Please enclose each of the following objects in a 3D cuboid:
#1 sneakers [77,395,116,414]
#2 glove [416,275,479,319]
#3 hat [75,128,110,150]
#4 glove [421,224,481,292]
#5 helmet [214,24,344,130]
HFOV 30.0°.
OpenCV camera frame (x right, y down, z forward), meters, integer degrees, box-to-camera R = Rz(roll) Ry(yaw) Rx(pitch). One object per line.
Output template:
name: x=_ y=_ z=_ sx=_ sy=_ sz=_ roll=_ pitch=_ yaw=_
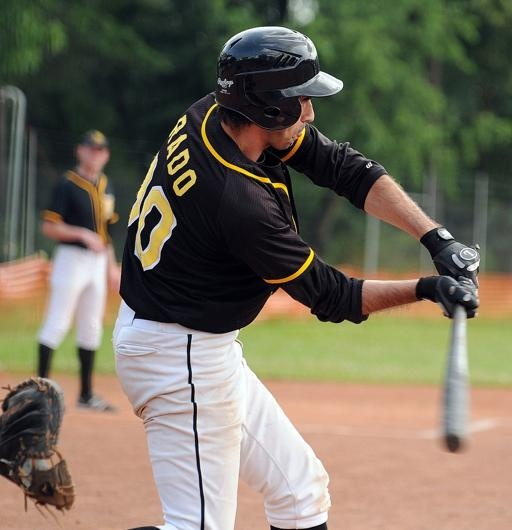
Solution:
sneakers: x=-1.001 y=0.890 z=6.082 sx=0.299 sy=0.096 sz=0.090 roll=2 pitch=-4 yaw=2
glove: x=0.708 y=0.109 z=3.565 sx=0.215 sy=0.075 sz=0.156 roll=26 pitch=-4 yaw=-23
hat: x=-1.106 y=-0.865 z=6.403 sx=0.182 sy=0.075 sz=0.177 roll=12 pitch=6 yaw=29
glove: x=0.770 y=-0.028 z=3.727 sx=0.295 sy=0.123 sz=0.171 roll=36 pitch=-1 yaw=-1
helmet: x=0.060 y=-0.712 z=3.609 sx=0.527 sy=0.314 sz=0.356 roll=-1 pitch=14 yaw=-1
